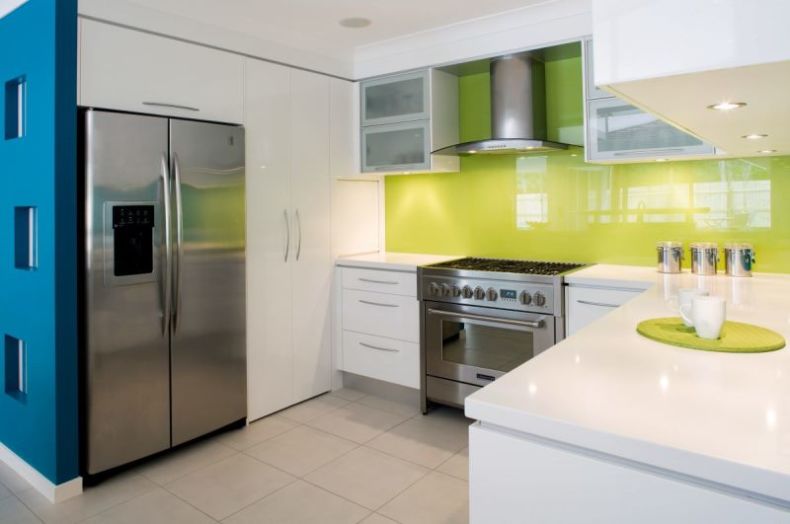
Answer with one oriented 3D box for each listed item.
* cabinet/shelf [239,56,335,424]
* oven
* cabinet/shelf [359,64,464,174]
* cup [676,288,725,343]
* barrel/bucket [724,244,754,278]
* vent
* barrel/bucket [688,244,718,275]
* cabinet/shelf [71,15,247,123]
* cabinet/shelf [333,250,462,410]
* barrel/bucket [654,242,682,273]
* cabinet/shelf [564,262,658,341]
[{"bbox_3d":[-0.848,-0.188,4.253,0.404,2.581,1.103,9,16,31],"label":"cabinet/shelf"},{"bbox_3d":[0.788,0.534,4.177,1.095,0.943,0.691,0,-1,34],"label":"oven"},{"bbox_3d":[0.142,-1.159,4.736,0.498,0.798,0.882,-10,12,-42],"label":"cabinet/shelf"},{"bbox_3d":[1.184,0.211,2.198,0.147,0.185,0.224,-2,-1,-18],"label":"cup"},{"bbox_3d":[2.076,0.000,3.360,0.195,0.192,0.194,-2,1,0],"label":"barrel/bucket"},{"bbox_3d":[0.861,-1.180,4.198,1.116,0.699,0.568,4,6,38],"label":"vent"},{"bbox_3d":[1.927,-0.013,3.430,0.196,0.185,0.165,-1,1,-22],"label":"barrel/bucket"},{"bbox_3d":[-1.678,-1.243,3.779,1.154,0.511,0.666,-6,9,-44],"label":"cabinet/shelf"},{"bbox_3d":[0.062,0.531,4.714,1.041,1.077,0.921,3,11,16],"label":"cabinet/shelf"},{"bbox_3d":[1.780,-0.029,3.567,0.208,0.210,0.186,-2,1,-42],"label":"barrel/bucket"},{"bbox_3d":[1.429,0.347,3.603,0.368,0.483,0.539,-8,9,-44],"label":"cabinet/shelf"}]
